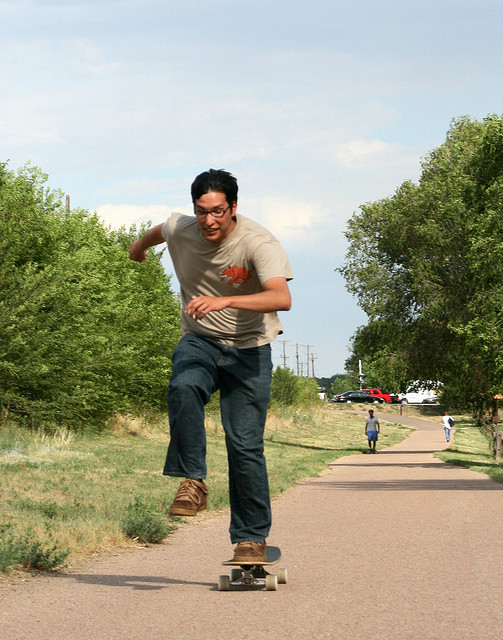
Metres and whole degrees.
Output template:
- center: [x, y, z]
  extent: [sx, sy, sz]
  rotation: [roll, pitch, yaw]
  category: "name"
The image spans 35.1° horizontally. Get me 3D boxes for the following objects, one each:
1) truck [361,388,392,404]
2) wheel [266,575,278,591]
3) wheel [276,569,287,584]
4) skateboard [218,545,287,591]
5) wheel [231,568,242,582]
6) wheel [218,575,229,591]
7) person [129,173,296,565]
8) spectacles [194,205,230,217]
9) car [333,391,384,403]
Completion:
- center: [14.344, 8.754, 89.177]
  extent: [5.014, 1.650, 2.228]
  rotation: [0, -1, 13]
  category: "truck"
- center: [0.132, 1.694, 5.116]
  extent: [0.070, 0.110, 0.122]
  rotation: [1, -5, 1]
  category: "wheel"
- center: [0.199, 1.697, 5.247]
  extent: [0.080, 0.119, 0.133]
  rotation: [0, 0, 4]
  category: "wheel"
- center: [0.009, 1.526, 5.164]
  extent: [0.328, 0.155, 0.569]
  rotation: [0, -4, 5]
  category: "skateboard"
- center: [-0.098, 1.671, 5.215]
  extent: [0.071, 0.098, 0.114]
  rotation: [1, -13, 4]
  category: "wheel"
- center: [-0.178, 1.695, 5.105]
  extent: [0.070, 0.105, 0.077]
  rotation: [1, -5, -3]
  category: "wheel"
- center: [-0.191, 0.321, 4.781]
  extent: [0.830, 2.368, 1.337]
  rotation: [1, -5, -6]
  category: "person"
- center: [-0.231, -0.639, 4.631]
  extent: [0.204, 0.082, 0.091]
  rotation: [0, -5, 0]
  category: "spectacles"
- center: [11.681, 8.383, 86.173]
  extent: [4.823, 1.246, 1.861]
  rotation: [-1, 0, -10]
  category: "car"
